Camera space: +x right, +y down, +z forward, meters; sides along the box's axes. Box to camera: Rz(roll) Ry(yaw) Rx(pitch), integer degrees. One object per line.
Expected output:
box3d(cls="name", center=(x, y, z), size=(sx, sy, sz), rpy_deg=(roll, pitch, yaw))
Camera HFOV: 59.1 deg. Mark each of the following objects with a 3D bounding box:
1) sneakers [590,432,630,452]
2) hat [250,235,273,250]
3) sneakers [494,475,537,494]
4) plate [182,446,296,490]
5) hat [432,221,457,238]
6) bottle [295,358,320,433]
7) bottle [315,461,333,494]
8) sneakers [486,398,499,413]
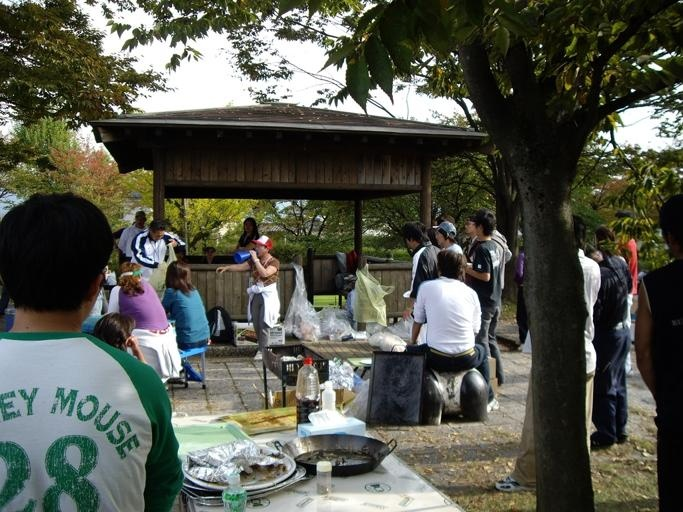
box3d(cls="sneakers", center=(2.537, 1.720, 5.734), size=(0.516, 0.145, 0.184), rpy_deg=(-2, 3, -35))
box3d(cls="hat", center=(-1.162, -0.199, 8.851), size=(0.267, 0.176, 0.184), rpy_deg=(11, -1, -16))
box3d(cls="sneakers", center=(1.369, 1.776, 4.723), size=(0.278, 0.146, 0.112), rpy_deg=(5, -10, 8))
box3d(cls="plate", center=(-0.525, 1.081, 3.110), size=(0.575, 0.121, 0.383), rpy_deg=(0, 3, -13))
box3d(cls="hat", center=(1.387, -0.392, 8.069), size=(0.279, 0.124, 0.213), rpy_deg=(40, -8, 14))
box3d(cls="bottle", center=(-0.239, 1.017, 4.288), size=(0.157, 0.598, 0.163), rpy_deg=(2, 11, 0))
box3d(cls="bottle", center=(-0.088, 1.106, 3.009), size=(0.074, 0.148, 0.081), rpy_deg=(0, -2, 0))
box3d(cls="sneakers", center=(1.716, 1.684, 6.806), size=(0.091, 0.218, 0.294), rpy_deg=(-10, -16, 17))
